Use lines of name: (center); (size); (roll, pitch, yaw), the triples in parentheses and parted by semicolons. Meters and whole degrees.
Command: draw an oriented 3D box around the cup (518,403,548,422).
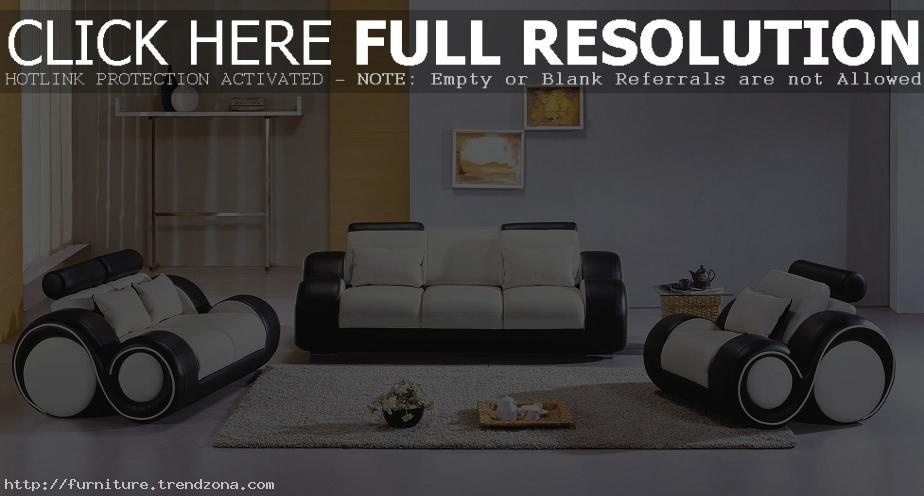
cup: (0.723, 1.649, 6.780); (0.231, 0.077, 0.158); (-1, 6, -33)

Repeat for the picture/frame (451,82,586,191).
picture/frame: (0.824, -1.640, 9.961); (1.868, 1.481, 0.142); (0, 7, -3)

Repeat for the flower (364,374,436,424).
flower: (-0.604, 1.542, 6.874); (0.538, 0.331, 0.518); (0, -10, 1)

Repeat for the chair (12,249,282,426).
chair: (-3.396, 0.903, 7.384); (2.210, 1.606, 1.305); (1, 6, 5)

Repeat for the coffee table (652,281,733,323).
coffee table: (2.880, 0.680, 8.431); (0.602, 0.410, 0.674); (0, -3, 3)

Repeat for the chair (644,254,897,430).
chair: (3.195, 0.860, 7.244); (1.985, 1.368, 1.888); (-1, 3, -12)

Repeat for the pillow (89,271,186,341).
pillow: (-3.502, 0.628, 7.323); (0.226, 0.552, 0.936); (-32, -5, 26)
